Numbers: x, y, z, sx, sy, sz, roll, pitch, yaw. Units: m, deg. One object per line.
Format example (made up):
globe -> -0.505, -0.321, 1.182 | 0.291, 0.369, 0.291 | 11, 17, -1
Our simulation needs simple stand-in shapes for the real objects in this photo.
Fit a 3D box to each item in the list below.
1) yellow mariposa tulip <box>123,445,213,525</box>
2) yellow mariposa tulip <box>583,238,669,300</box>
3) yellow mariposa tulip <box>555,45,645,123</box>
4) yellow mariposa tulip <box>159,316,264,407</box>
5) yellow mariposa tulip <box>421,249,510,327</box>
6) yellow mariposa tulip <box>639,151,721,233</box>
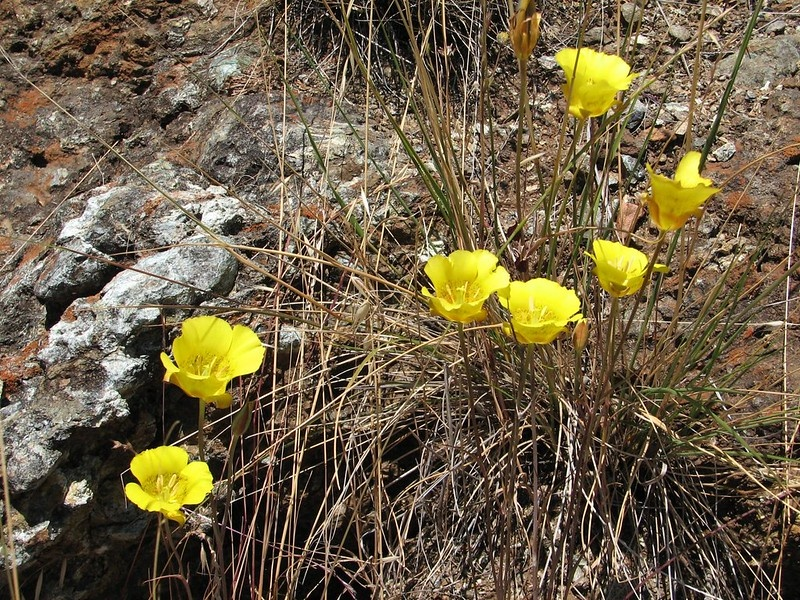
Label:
yellow mariposa tulip -> -0.657, 0.550, 1.921 | 0.225, 0.127, 0.265 | 8, 22, -12
yellow mariposa tulip -> 0.634, -0.069, 1.936 | 0.173, 0.108, 0.196 | 9, 10, -35
yellow mariposa tulip -> 0.602, -0.697, 2.142 | 0.270, 0.202, 0.302 | 21, 5, 39
yellow mariposa tulip -> -0.542, 0.197, 1.871 | 0.266, 0.164, 0.296 | -3, 21, -10
yellow mariposa tulip -> 0.175, -0.068, 2.037 | 0.229, 0.160, 0.259 | -16, 9, 8
yellow mariposa tulip -> 0.786, -0.291, 1.947 | 0.201, 0.224, 0.242 | 21, 38, 15
